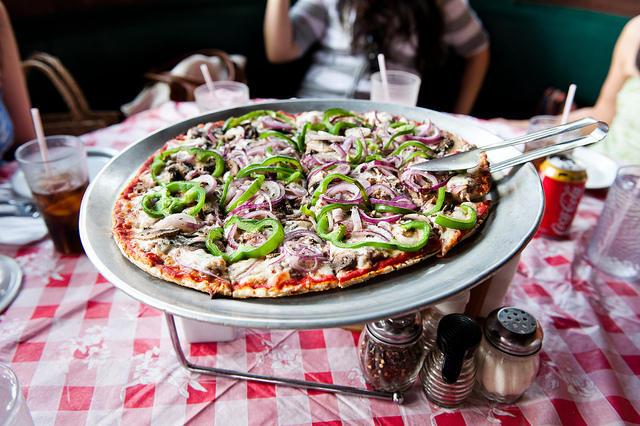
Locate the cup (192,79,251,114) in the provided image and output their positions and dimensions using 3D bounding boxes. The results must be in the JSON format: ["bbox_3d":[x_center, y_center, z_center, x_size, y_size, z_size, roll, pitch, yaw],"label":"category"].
[{"bbox_3d":[-0.564,-0.658,2.863,0.227,0.187,0.250,-8,32,5],"label":"cup"}]

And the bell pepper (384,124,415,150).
[{"bbox_3d":[0.388,-0.368,2.509,0.048,0.162,0.103,29,19,-35],"label":"bell pepper"}]

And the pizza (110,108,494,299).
[{"bbox_3d":[-0.112,-0.126,2.367,1.618,0.149,1.332,-23,44,-29],"label":"pizza"}]

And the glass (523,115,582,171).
[{"bbox_3d":[1.121,-0.328,2.438,0.258,0.286,0.258,-33,39,-31],"label":"glass"}]

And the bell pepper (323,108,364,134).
[{"bbox_3d":[0.106,-0.485,2.666,0.175,0.047,0.121,-10,62,-24],"label":"bell pepper"}]

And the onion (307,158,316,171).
[{"bbox_3d":[-0.041,-0.228,2.384,0.045,0.012,0.043,7,49,1],"label":"onion"}]

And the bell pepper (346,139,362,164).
[{"bbox_3d":[0.168,-0.291,2.433,0.086,0.066,0.110,-1,67,16],"label":"bell pepper"}]

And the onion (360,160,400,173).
[{"bbox_3d":[0.281,-0.202,2.360,0.108,0.046,0.078,2,6,-34],"label":"onion"}]

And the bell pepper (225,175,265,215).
[{"bbox_3d":[-0.326,-0.074,2.228,0.266,0.136,0.141,-6,20,-22],"label":"bell pepper"}]

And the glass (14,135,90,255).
[{"bbox_3d":[-1.262,-0.085,2.479,0.307,0.478,0.303,7,26,14],"label":"glass"}]

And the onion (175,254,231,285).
[{"bbox_3d":[-0.456,0.207,2.031,0.230,0.080,0.221,-3,13,-12],"label":"onion"}]

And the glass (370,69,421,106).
[{"bbox_3d":[0.405,-0.731,2.935,0.278,0.211,0.318,-11,25,-36],"label":"glass"}]

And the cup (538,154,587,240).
[{"bbox_3d":[1.211,-0.078,2.548,0.227,0.398,0.224,-4,33,3],"label":"cup"}]

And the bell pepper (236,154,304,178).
[{"bbox_3d":[-0.232,-0.258,2.475,0.421,0.093,0.335,-5,15,-22],"label":"bell pepper"}]
